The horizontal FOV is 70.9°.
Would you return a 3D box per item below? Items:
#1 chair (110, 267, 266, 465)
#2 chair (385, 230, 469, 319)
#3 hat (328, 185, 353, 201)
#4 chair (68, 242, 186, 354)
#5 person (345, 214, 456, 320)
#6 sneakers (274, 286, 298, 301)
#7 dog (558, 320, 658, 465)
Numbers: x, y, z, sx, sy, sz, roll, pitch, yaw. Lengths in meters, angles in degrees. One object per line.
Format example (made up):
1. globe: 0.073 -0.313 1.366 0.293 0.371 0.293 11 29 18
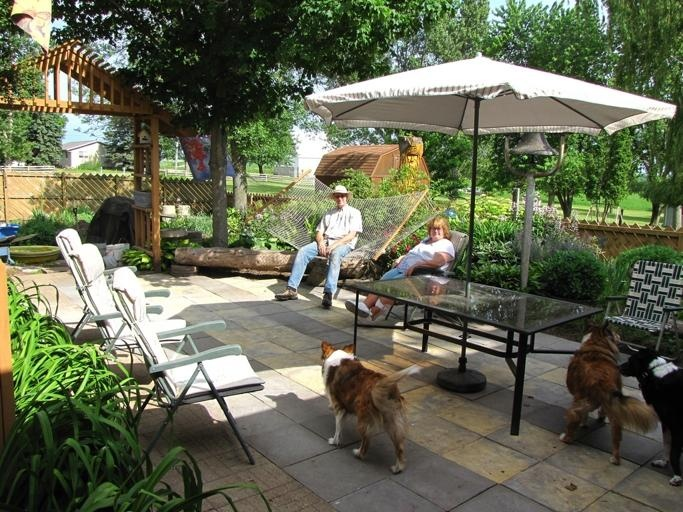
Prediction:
1. chair: -1.057 0.725 3.283 1.130 0.971 0.841 7 2 -10
2. chair: 1.144 0.207 6.050 1.343 1.141 1.031 1 -1 -12
3. hat: -0.002 -0.966 7.336 0.328 0.120 0.343 0 0 0
4. chair: -1.926 0.373 4.376 1.126 0.793 0.707 6 9 -17
5. person: 0.935 0.138 5.630 1.727 0.960 0.906 -4 8 -23
6. sneakers: -0.754 0.539 6.780 0.363 0.139 0.148 -1 9 -26
7. dog: 1.568 0.848 3.247 0.461 0.506 1.020 -1 17 9
